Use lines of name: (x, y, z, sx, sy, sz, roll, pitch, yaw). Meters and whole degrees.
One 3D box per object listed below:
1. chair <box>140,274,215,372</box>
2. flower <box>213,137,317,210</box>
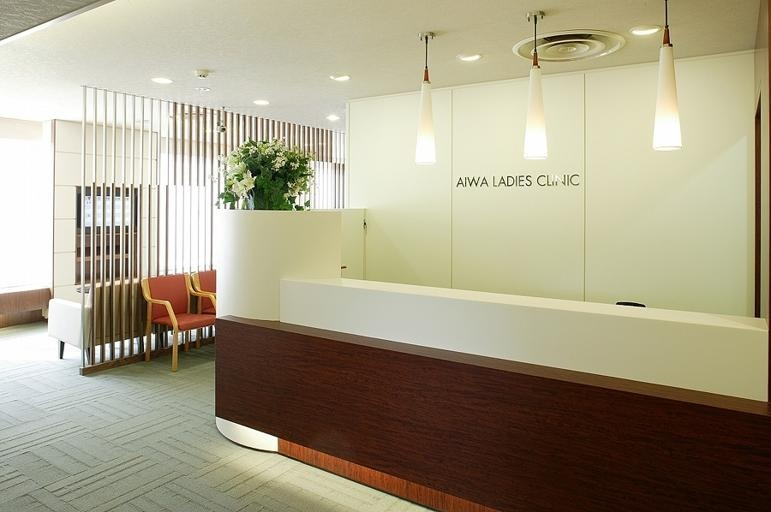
chair: (-3.011, 0.882, 7.746, 1.078, 1.161, 1.111, 11, 16, 43)
flower: (-1.200, -0.748, 5.375, 0.890, 0.811, 0.748, 0, -1, -21)
